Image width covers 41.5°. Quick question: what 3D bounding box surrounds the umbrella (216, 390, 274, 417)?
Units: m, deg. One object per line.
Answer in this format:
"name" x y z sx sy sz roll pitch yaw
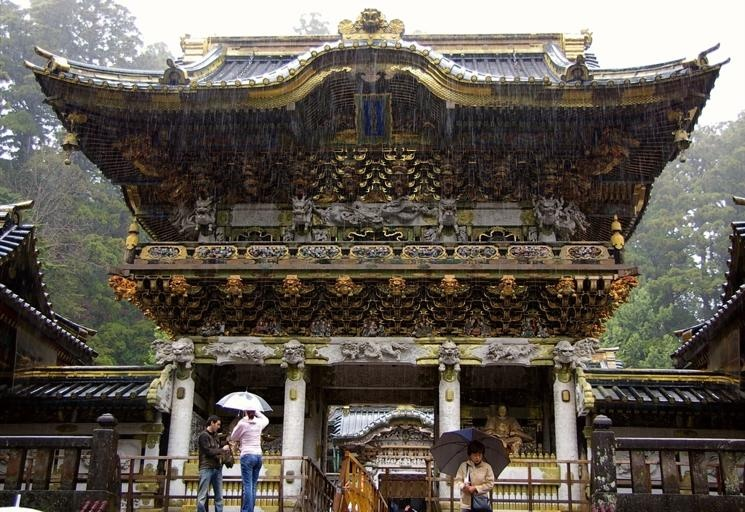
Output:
"umbrella" -3.713 4.177 27.761 1.325 0.476 1.269 7 -18 1

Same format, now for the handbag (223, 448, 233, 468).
"handbag" -3.662 5.050 24.783 0.222 0.438 0.360 5 -28 -5
